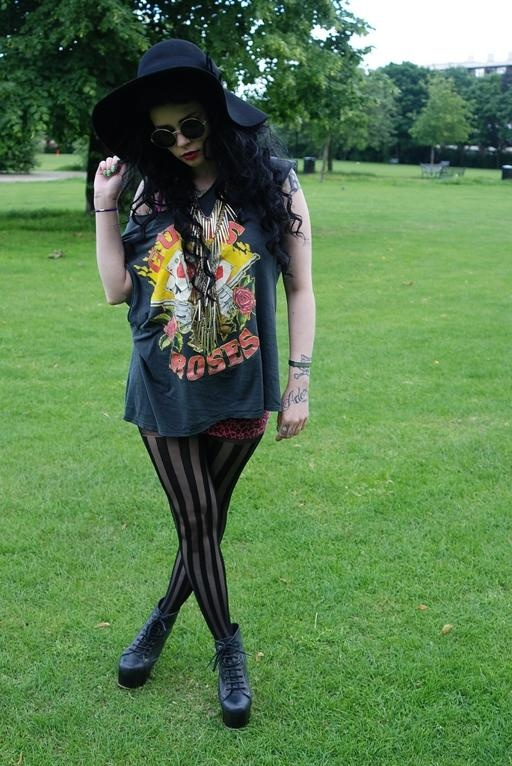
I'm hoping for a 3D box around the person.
[{"bbox_3d":[-0.160,0.069,2.304,0.656,2.039,0.374,1,15,3],"label":"person"}]

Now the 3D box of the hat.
[{"bbox_3d":[-0.231,-0.780,2.123,0.447,0.211,0.358,-8,-14,-18],"label":"hat"}]

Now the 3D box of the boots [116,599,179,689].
[{"bbox_3d":[-0.329,0.855,2.675,0.129,0.198,0.372,27,25,5],"label":"boots"}]

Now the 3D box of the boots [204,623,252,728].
[{"bbox_3d":[-0.066,0.933,2.414,0.116,0.169,0.307,-4,14,0],"label":"boots"}]
